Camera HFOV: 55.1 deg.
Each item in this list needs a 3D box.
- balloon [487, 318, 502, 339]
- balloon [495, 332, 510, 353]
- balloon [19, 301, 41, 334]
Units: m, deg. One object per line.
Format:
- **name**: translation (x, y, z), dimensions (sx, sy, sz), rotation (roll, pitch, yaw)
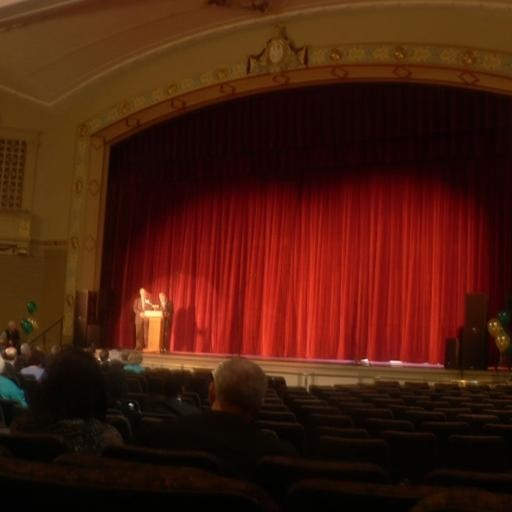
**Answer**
- **balloon**: translation (4.768, 1.477, 9.814), dimensions (0.278, 0.356, 0.418), rotation (-4, -10, 28)
- **balloon**: translation (4.831, 1.716, 9.596), dimensions (0.249, 0.371, 0.341), rotation (-4, -10, 28)
- **balloon**: translation (-6.291, 1.761, 13.612), dimensions (0.319, 0.849, 0.318), rotation (16, -5, -2)
